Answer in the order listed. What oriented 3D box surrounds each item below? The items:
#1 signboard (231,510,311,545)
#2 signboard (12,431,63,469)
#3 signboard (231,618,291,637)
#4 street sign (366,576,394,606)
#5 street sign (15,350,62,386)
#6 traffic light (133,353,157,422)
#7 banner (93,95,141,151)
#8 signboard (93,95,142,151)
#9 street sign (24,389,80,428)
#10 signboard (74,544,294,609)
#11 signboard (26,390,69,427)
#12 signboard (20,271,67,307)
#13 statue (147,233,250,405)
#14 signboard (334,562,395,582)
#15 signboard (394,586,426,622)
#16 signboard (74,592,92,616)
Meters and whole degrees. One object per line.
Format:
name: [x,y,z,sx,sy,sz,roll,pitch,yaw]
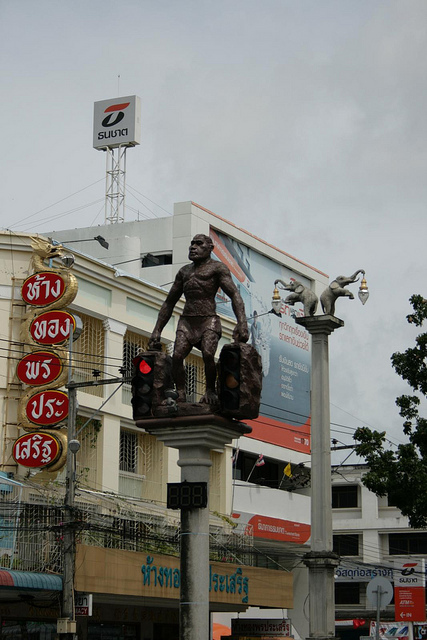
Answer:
signboard: [2.469,8.017,60.339,0.232,1.033,6.379,-5,-16,27]
signboard: [-4.454,3.260,39.614,1.494,0.936,0.326,-7,-16,32]
signboard: [1.553,10.027,50.817,2.314,0.618,0.696,-8,-17,36]
street sign: [3.298,5.304,30.603,0.482,0.592,0.892,3,-14,-2]
street sign: [-4.451,1.223,40.141,0.802,0.603,0.079,-15,-20,24]
traffic light: [-1.155,1.091,26.235,0.419,1.081,0.637,2,-14,3]
banner: [-3.930,-8.161,63.915,1.942,1.961,0.782,-4,-13,20]
signboard: [-3.933,-8.089,63.879,1.929,2.009,0.656,-6,-11,24]
street sign: [-4.073,2.202,38.943,1.151,0.861,0.204,-3,-20,27]
signboard: [-0.805,6.904,42.119,1.213,0.928,8.573,18,1,43]
signboard: [-4.199,2.256,39.728,0.981,0.763,0.176,-10,-26,31]
signboard: [-4.404,-0.834,40.870,0.953,0.710,0.050,1,-22,28]
statue: [-0.236,-0.023,26.911,1.888,3.101,0.599,-5,-16,29]
signboard: [6.997,11.557,72.111,2.654,1.011,3.658,1,-14,4]
signboard: [5.716,8.213,45.167,1.204,1.248,0.687,1,-22,3]
signboard: [-2.977,6.464,35.462,0.108,0.705,0.769,13,-22,-34]
